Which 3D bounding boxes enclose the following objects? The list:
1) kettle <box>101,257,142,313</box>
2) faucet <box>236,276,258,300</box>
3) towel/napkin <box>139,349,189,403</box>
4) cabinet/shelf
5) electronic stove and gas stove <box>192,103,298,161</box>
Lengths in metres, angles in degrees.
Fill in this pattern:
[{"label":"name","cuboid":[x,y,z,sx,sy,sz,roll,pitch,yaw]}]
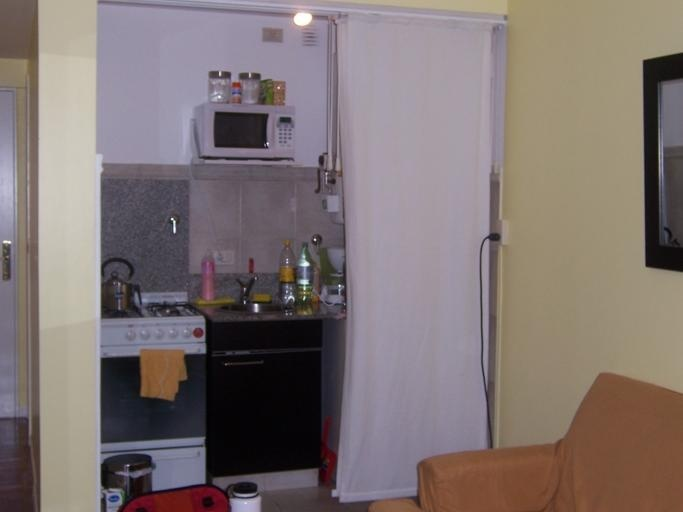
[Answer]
[{"label":"kettle","cuboid":[-1.385,0.206,3.993,0.240,0.425,0.237,1,7,-20]},{"label":"faucet","cuboid":[-0.640,0.210,4.302,0.141,0.151,0.199,-2,5,-9]},{"label":"towel/napkin","cuboid":[-0.999,0.655,3.514,0.242,0.285,0.085,3,0,-8]},{"label":"cabinet/shelf","cuboid":[-0.496,0.833,3.988,0.702,1.029,0.614,0,0,-18]},{"label":"electronic stove and gas stove","cuboid":[-0.596,-0.821,4.137,0.605,0.342,0.071,-3,5,-18]}]
